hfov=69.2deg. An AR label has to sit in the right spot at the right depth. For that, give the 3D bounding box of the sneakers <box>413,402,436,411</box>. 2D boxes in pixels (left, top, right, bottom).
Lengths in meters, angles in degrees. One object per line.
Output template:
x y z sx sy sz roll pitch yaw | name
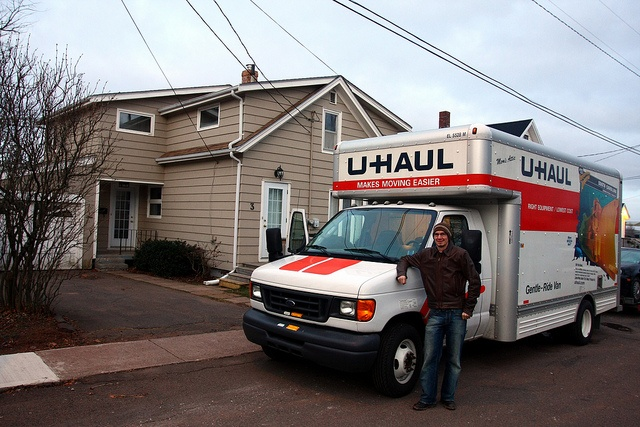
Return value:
1.566 2.914 7.005 0.320 0.136 0.117 7 -11 -19 | sneakers

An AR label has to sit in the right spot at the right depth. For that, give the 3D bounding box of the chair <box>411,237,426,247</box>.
1.619 0.489 7.711 0.150 0.200 0.165 -4 -21 31 | chair

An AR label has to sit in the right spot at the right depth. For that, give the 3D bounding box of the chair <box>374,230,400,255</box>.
1.107 0.479 7.873 0.324 0.373 0.336 7 6 42 | chair

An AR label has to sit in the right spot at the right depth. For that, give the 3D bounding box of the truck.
2.503 0.722 9.961 7.890 3.878 3.860 2 -1 -38 | truck
